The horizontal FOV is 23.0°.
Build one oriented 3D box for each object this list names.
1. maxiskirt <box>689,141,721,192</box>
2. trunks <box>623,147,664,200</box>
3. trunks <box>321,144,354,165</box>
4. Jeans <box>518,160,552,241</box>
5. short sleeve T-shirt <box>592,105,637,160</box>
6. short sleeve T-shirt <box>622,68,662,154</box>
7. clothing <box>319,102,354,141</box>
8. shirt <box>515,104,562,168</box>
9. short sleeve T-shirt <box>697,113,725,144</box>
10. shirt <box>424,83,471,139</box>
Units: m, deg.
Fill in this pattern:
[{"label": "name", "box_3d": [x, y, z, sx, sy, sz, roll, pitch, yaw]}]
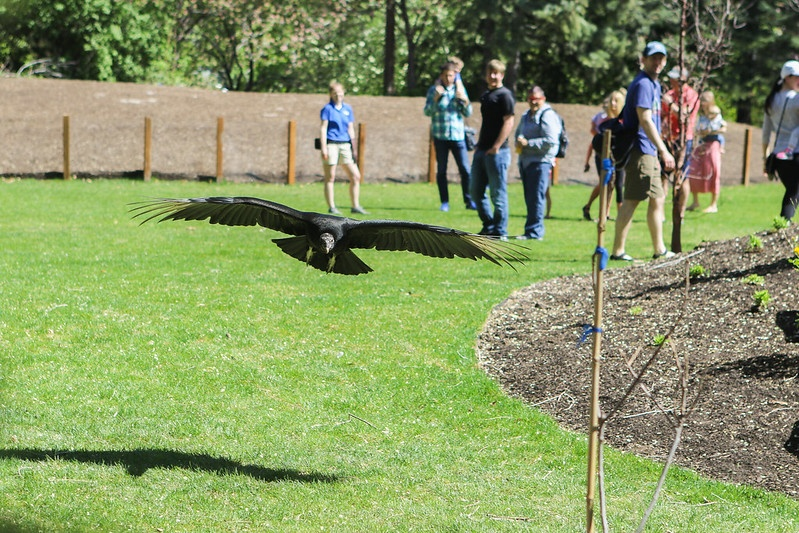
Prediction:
[{"label": "maxiskirt", "box_3d": [7.316, -2.269, 46.824, 0.521, 0.914, 0.594, 9, -3, 19]}, {"label": "trunks", "box_3d": [5.098, -1.837, 41.677, 0.577, 1.011, 1.030, 27, -6, 31]}, {"label": "trunks", "box_3d": [-1.457, -2.445, 45.482, 0.754, 0.679, 0.440, -1, 1, -16]}, {"label": "Jeans", "box_3d": [3.006, -1.496, 43.874, 0.718, 1.912, 0.965, 9, -6, -18]}, {"label": "short sleeve T-shirt", "box_3d": [4.543, -2.923, 41.925, 0.931, 0.762, 1.319, -26, 3, 20]}, {"label": "short sleeve T-shirt", "box_3d": [5.082, -3.208, 41.178, 0.774, 1.763, 0.481, 1, 4, -4]}, {"label": "clothing", "box_3d": [-1.448, -3.318, 45.419, 0.923, 0.919, 0.499, -2, 10, -30]}, {"label": "shirt", "box_3d": [3.048, -2.897, 43.519, 0.916, 1.365, 0.641, 2, 5, 7]}, {"label": "short sleeve T-shirt", "box_3d": [7.209, -3.216, 45.642, 0.795, 0.904, 0.499, -2, 3, 1]}, {"label": "shirt", "box_3d": [1.039, -3.557, 45.558, 0.926, 1.294, 0.532, 2, 5, 2]}]
